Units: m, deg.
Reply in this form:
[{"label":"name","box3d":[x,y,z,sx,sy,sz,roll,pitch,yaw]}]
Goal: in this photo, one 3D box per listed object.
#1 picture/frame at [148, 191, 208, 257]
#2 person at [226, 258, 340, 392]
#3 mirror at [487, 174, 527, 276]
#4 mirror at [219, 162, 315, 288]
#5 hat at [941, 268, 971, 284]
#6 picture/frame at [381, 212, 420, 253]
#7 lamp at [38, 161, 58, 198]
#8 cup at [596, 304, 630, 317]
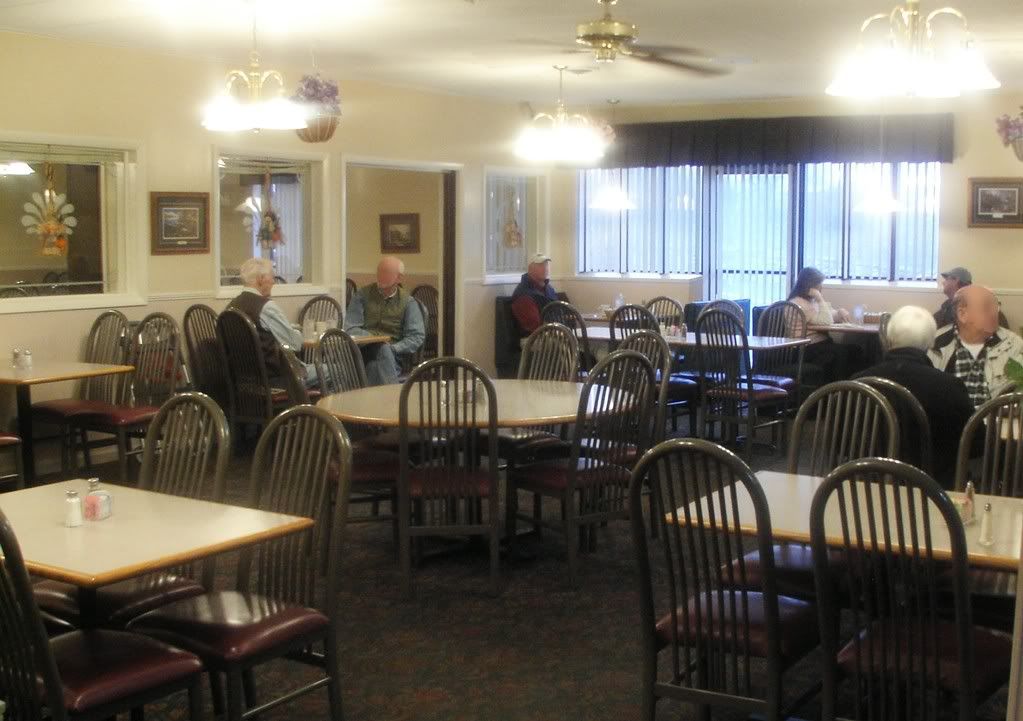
[{"label":"picture/frame","box3d":[-2.720,-1.110,6.904,0.042,0.545,0.549,5,6,41]},{"label":"person","box3d":[-1.805,-0.176,6.507,0.685,1.141,0.540,0,-4,-32]},{"label":"mirror","box3d":[-0.046,-1.583,9.923,0.184,1.103,0.792,5,9,30]},{"label":"mirror","box3d":[-2.233,-1.255,7.678,0.054,1.382,1.238,5,6,41]},{"label":"hat","box3d":[4.134,-0.773,7.965,0.287,0.155,0.210,9,5,23]},{"label":"picture/frame","box3d":[-1.331,-1.563,10.356,0.465,0.455,0.053,2,12,14]},{"label":"lamp","box3d":[-3.410,-1.329,6.294,0.080,0.252,0.130,6,9,35]},{"label":"cup","box3d":[1.042,-0.541,9.087,0.249,0.111,0.286,-3,-4,-1]}]
